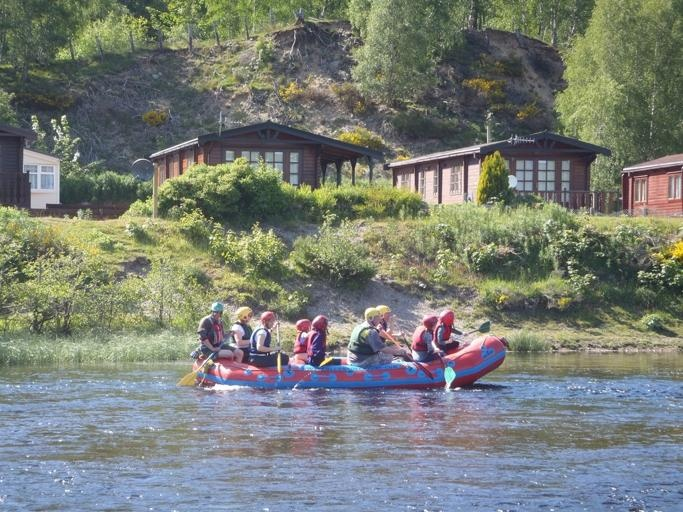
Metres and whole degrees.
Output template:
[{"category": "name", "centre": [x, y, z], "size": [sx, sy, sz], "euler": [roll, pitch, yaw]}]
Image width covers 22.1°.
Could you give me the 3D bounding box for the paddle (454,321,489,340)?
[{"category": "paddle", "centre": [6.876, 3.926, 92.030], "size": [0.351, 0.822, 3.103], "euler": [-11, -7, -28]}]

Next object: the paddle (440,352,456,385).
[{"category": "paddle", "centre": [5.476, 5.989, 89.762], "size": [0.734, 1.621, 0.411], "euler": [1, -2, 3]}]
